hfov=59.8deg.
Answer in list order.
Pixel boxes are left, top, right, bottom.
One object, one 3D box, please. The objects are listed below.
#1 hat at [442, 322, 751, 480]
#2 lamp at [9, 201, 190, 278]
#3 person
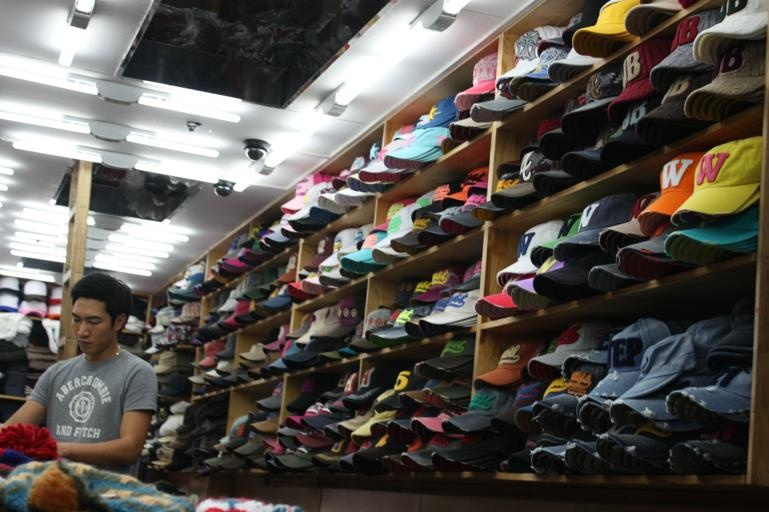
[{"bbox_3d":[0.791,0.478,2.343,0.397,0.562,0.943,17,-23,-20],"label":"hat"},{"bbox_3d":[-2.874,-0.124,6.522,1.234,0.197,0.935,10,-25,-26],"label":"lamp"},{"bbox_3d":[-1.273,0.473,2.927,0.605,0.853,0.371,6,-26,2],"label":"person"}]
